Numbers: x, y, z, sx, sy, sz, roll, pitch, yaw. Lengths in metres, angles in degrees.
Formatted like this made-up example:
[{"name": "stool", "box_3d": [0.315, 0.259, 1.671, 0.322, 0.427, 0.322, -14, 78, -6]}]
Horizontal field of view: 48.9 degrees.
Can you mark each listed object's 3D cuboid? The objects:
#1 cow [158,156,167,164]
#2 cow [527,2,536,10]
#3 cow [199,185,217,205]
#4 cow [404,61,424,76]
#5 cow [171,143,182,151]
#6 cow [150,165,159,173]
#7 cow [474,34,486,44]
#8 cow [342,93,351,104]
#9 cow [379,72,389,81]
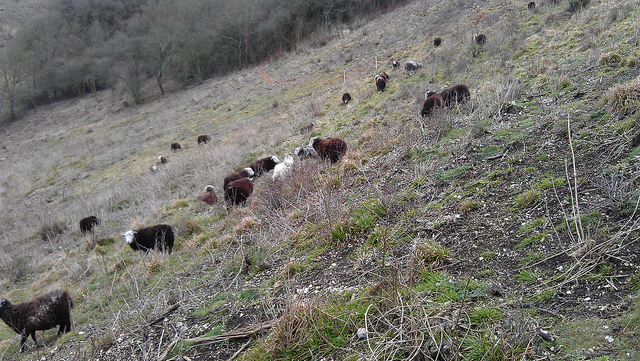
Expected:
[{"name": "cow", "box_3d": [-23.039, -3.026, 103.714, 0.824, 0.835, 1.287, -32, 19, -10]}, {"name": "cow", "box_3d": [29.170, -24.217, 97.462, 1.245, 0.755, 0.708, -26, 19, 11]}, {"name": "cow", "box_3d": [-14.890, 2.245, 94.472, 1.445, 1.547, 2.751, 116, 159, -52]}, {"name": "cow", "box_3d": [12.948, -15.916, 98.273, 2.445, 1.512, 1.624, -28, 18, 5]}, {"name": "cow", "box_3d": [-21.753, -5.059, 106.359, 1.483, 0.901, 1.019, -29, 18, 2]}, {"name": "cow", "box_3d": [-23.930, -1.686, 102.143, 1.192, 0.798, 1.569, -37, 20, -23]}, {"name": "cow", "box_3d": [21.875, -19.366, 96.451, 1.724, 1.747, 0.611, 10, 35, 24]}, {"name": "cow", "box_3d": [3.647, -11.637, 99.846, 0.950, 1.313, 0.785, 7, -9, -2]}, {"name": "cow", "box_3d": [8.955, -14.702, 99.116, 0.864, 1.000, 1.133, -13, -1, 1]}]
